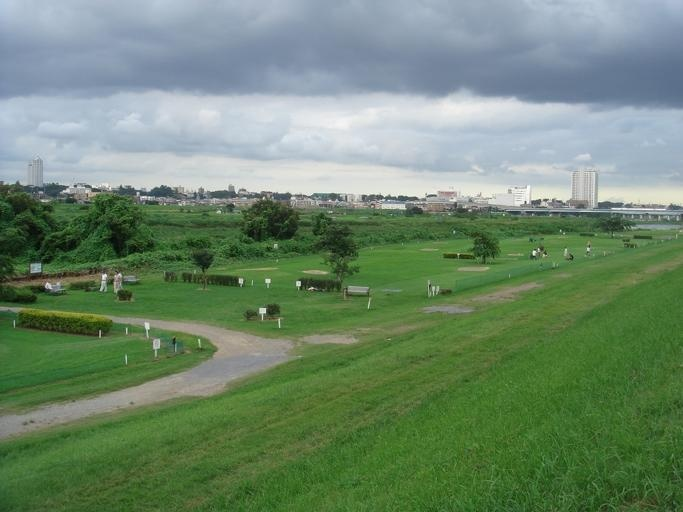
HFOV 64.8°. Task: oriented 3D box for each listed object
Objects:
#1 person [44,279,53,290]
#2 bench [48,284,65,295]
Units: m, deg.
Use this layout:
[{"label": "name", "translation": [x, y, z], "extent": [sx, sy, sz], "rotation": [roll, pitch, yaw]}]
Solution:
[{"label": "person", "translation": [-33.625, 3.134, 61.498], "extent": [0.839, 0.977, 0.852], "rotation": [-3, 8, -25]}, {"label": "bench", "translation": [-31.186, 3.643, 58.522], "extent": [1.927, 0.475, 1.507], "rotation": [8, 9, 44]}]
